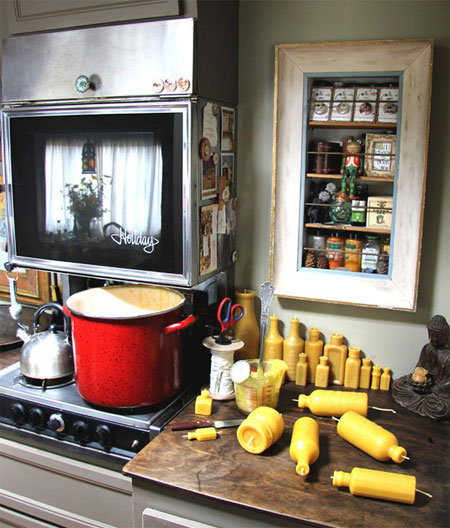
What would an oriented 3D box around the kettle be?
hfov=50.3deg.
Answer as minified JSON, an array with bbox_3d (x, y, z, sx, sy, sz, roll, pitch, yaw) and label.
[{"bbox_3d":[-0.563,0.230,1.497,0.222,0.226,0.146,5,9,18],"label":"kettle"}]

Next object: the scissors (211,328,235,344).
[{"bbox_3d":[-0.010,0.211,1.406,0.051,0.030,0.037,6,7,23],"label":"scissors"}]

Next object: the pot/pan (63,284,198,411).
[{"bbox_3d":[-0.264,0.232,1.420,0.394,0.255,0.331,6,12,27],"label":"pot/pan"}]

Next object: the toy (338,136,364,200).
[{"bbox_3d":[0.375,-0.286,1.416,0.066,0.184,0.056,6,3,13],"label":"toy"}]
